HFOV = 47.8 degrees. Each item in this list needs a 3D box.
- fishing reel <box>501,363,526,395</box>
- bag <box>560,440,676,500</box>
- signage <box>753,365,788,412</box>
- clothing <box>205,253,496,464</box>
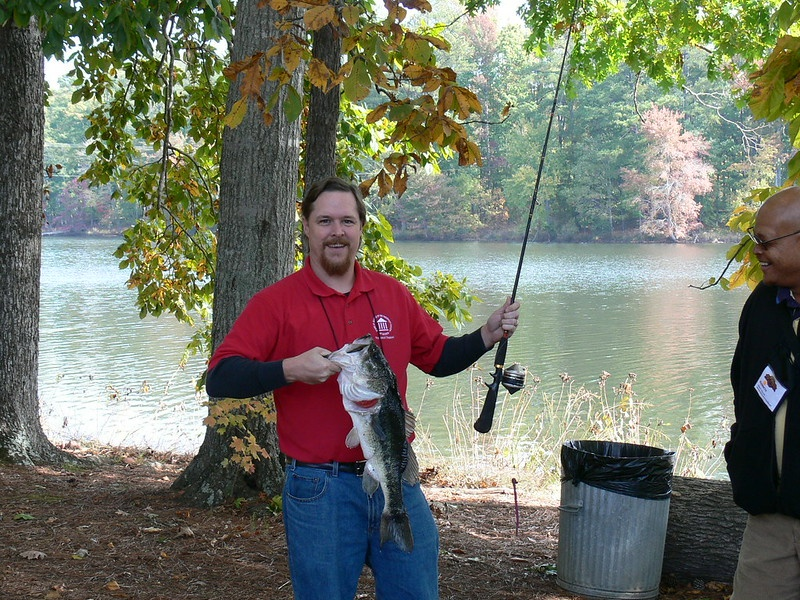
[{"bbox_3d":[0.764,0.529,6.101,0.212,0.237,0.200,1,2,9],"label":"fishing reel"},{"bbox_3d":[1.757,1.355,7.220,0.686,0.239,0.523,0,0,23],"label":"bag"},{"bbox_3d":[2.221,0.534,5.491,0.287,0.266,0.076,39,-32,-25],"label":"signage"},{"bbox_3d":[-0.239,0.391,5.759,2.003,1.222,0.942,-4,6,-30],"label":"clothing"}]
